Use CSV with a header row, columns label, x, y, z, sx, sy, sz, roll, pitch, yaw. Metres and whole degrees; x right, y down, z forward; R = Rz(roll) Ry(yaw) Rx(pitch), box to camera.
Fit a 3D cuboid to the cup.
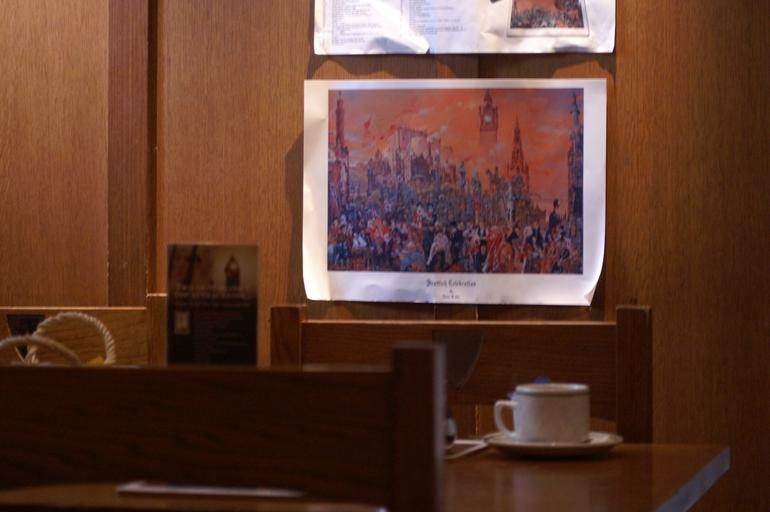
label,x,y,z,sx,sy,sz,roll,pitch,yaw
cup,0.385,0.369,2.565,0.170,0.121,0.141,-1,-3,6
